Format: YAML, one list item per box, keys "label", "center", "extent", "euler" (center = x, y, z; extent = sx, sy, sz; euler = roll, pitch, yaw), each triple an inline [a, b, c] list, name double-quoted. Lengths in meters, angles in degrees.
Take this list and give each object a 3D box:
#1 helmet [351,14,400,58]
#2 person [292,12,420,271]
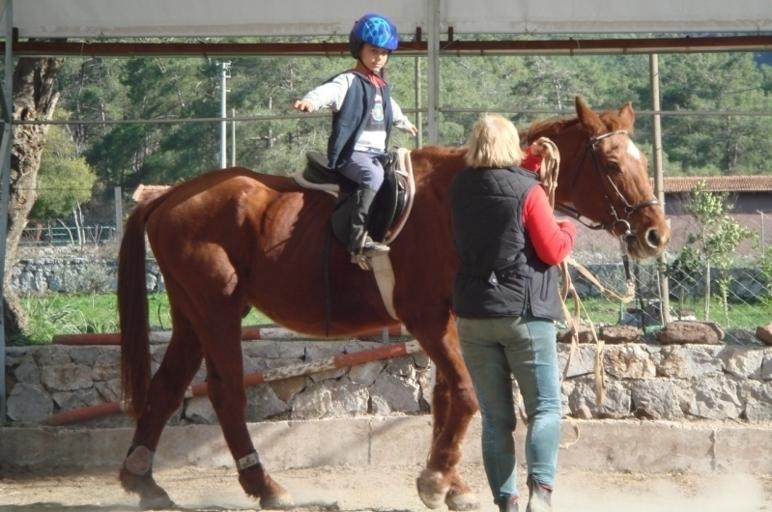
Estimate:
- label: "helmet"
  center: [-0.166, -2.809, 17.943]
  extent: [0.421, 0.505, 0.566]
  euler: [6, 2, -31]
- label: "person"
  center: [-0.302, -1.460, 17.743]
  extent: [1.317, 3.192, 0.712]
  euler: [-4, 4, -19]
